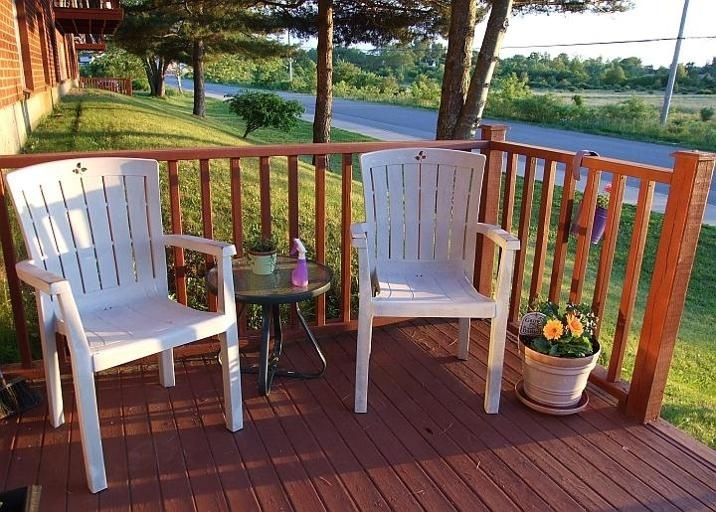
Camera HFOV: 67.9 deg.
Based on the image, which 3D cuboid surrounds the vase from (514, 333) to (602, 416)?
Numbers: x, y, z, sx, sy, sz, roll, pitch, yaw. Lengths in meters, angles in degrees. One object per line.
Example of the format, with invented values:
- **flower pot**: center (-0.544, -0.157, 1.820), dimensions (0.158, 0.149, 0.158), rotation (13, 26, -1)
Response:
- **vase**: center (1.111, 0.622, 3.044), dimensions (0.372, 0.339, 0.430), rotation (0, 15, -4)

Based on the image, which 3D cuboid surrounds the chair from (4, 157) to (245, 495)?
- **chair**: center (-1.170, 0.258, 2.745), dimensions (0.901, 1.379, 0.903), rotation (-13, 27, -36)

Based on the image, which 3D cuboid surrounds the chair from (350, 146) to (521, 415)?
- **chair**: center (0.360, 0.125, 3.008), dimensions (0.901, 1.337, 0.963), rotation (-3, 12, -16)

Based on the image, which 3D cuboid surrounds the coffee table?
- **coffee table**: center (-0.514, 0.424, 3.172), dimensions (0.655, 0.656, 0.721), rotation (-6, 18, -24)

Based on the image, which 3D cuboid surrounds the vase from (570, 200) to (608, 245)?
- **vase**: center (1.374, -0.203, 3.182), dimensions (0.183, 0.249, 0.230), rotation (12, 23, 21)
